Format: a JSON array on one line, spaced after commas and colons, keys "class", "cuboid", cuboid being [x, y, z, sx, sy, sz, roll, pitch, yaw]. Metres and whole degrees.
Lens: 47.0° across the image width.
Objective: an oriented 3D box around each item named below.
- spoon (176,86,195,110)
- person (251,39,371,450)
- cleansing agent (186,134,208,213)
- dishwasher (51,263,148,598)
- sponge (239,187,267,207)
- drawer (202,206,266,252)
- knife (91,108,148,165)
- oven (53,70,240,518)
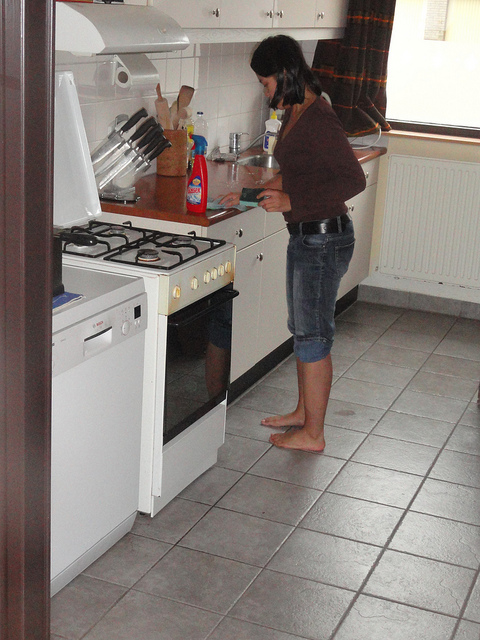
[{"class": "spoon", "cuboid": [-0.298, -1.209, 3.005, 0.075, 0.131, 0.032, 7, 23, -22]}, {"class": "person", "cuboid": [0.319, -0.428, 2.938, 0.551, 1.826, 1.364, 3, 23, 8]}, {"class": "cleansing agent", "cuboid": [-0.186, -0.633, 2.395, 0.117, 0.319, 0.085, 16, 23, 31]}, {"class": "dishwasher", "cuboid": [-0.414, 0.359, 1.764, 0.429, 0.981, 0.410, -6, 26, -25]}, {"class": "sponge", "cuboid": [0.056, -0.558, 2.515, 0.119, 0.088, 0.199, 0, 23, -2]}, {"class": "drawer", "cuboid": [0.002, -0.441, 2.659, 0.297, 0.222, 0.316, 11, 22, 21]}, {"class": "knife", "cuboid": [-0.519, -0.754, 2.363, 0.189, 0.270, 0.226, 15, 26, 28]}, {"class": "oven", "cuboid": [-0.238, 0.033, 1.877, 0.587, 1.532, 0.671, 5, 21, 4]}]
